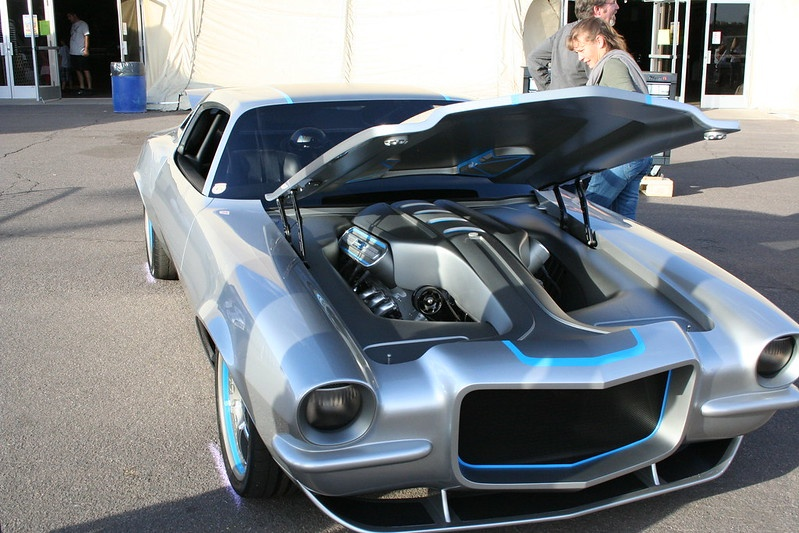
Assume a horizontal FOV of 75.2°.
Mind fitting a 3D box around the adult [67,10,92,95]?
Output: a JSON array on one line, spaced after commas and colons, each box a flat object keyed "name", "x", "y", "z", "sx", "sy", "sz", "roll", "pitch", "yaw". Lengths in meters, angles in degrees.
[{"name": "adult", "x": -11.321, "y": -7.584, "z": 18.313, "sx": 0.975, "sy": 2.849, "sz": 0.704, "roll": 5, "pitch": 10, "yaw": 18}]

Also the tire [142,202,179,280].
[{"name": "tire", "x": -1.840, "y": -0.184, "z": 4.020, "sx": 0.164, "sy": 0.496, "sz": 0.487, "roll": -12, "pitch": 47, "yaw": -28}]

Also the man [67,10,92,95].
[{"name": "man", "x": -11.344, "y": -7.427, "z": 18.472, "sx": 0.629, "sy": 2.443, "sz": 1.838, "roll": -10, "pitch": 21, "yaw": -31}]

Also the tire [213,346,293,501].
[{"name": "tire", "x": -0.619, "y": 0.686, "z": 2.241, "sx": 0.207, "sy": 0.590, "sz": 0.583, "roll": -8, "pitch": -22, "yaw": -28}]

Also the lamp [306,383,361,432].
[{"name": "lamp", "x": -0.251, "y": 0.549, "z": 2.049, "sx": 0.219, "sy": 0.273, "sz": 0.057, "roll": -6, "pitch": 58, "yaw": 5}]
